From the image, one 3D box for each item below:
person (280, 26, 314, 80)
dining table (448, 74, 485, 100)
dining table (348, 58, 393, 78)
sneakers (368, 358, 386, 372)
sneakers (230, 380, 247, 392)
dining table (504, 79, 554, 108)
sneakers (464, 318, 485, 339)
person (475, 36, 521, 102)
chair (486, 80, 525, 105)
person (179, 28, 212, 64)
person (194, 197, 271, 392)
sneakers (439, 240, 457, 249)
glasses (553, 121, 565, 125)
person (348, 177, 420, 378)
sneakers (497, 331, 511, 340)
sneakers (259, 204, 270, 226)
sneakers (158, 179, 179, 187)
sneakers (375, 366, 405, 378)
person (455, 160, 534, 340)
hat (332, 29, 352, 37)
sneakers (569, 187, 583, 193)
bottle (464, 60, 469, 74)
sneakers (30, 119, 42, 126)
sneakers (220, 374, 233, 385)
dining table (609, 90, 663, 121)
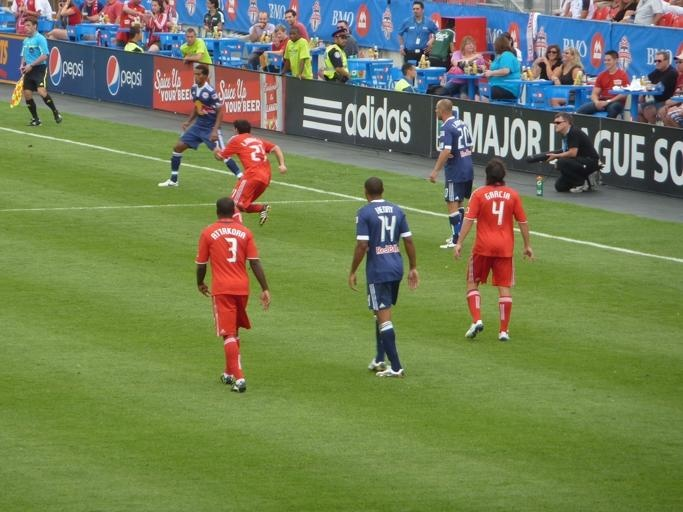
[{"bbox_3d":[-1.063,-5.257,38.593,0.732,1.304,2.072,2,11,-3],"label":"person"},{"bbox_3d":[3.100,-4.218,37.170,0.718,0.696,0.733,5,11,28],"label":"dining table"},{"bbox_3d":[0.797,-5.117,40.473,0.723,0.336,0.738,11,17,38],"label":"dining table"},{"bbox_3d":[0.540,1.634,22.305,0.282,0.134,0.116,6,8,41],"label":"sneakers"},{"bbox_3d":[-1.431,1.867,21.497,0.141,0.188,0.188,5,11,31],"label":"sneakers"},{"bbox_3d":[4.480,-3.895,35.721,0.838,0.787,0.831,-6,14,-23],"label":"dining table"},{"bbox_3d":[2.078,1.177,23.439,0.154,0.427,0.210,14,46,-25],"label":"sneakers"},{"bbox_3d":[3.847,-4.222,36.407,1.025,2.134,0.976,2,-2,32],"label":"person"},{"bbox_3d":[3.928,-3.979,36.161,0.636,0.408,0.644,1,10,8],"label":"chair"},{"bbox_3d":[-3.688,-5.447,38.961,0.747,0.882,1.423,2,11,-7],"label":"person"},{"bbox_3d":[-1.544,0.543,21.589,0.861,2.725,0.650,9,12,29],"label":"person"},{"bbox_3d":[1.986,-0.199,27.919,0.322,0.128,0.110,2,2,23],"label":"sneakers"},{"bbox_3d":[4.347,-2.684,30.095,0.196,0.132,0.152,12,14,37],"label":"glasses"},{"bbox_3d":[0.622,0.318,22.035,0.969,2.887,0.777,3,11,0],"label":"person"},{"bbox_3d":[2.538,1.255,23.474,0.133,0.126,0.291,-1,-2,2],"label":"sneakers"},{"bbox_3d":[-1.458,-0.793,29.017,0.222,0.451,0.162,17,42,-2],"label":"sneakers"},{"bbox_3d":[-3.638,-1.568,32.080,0.425,0.185,0.170,1,4,7],"label":"sneakers"},{"bbox_3d":[0.730,1.702,22.145,0.413,0.180,0.152,2,4,8],"label":"sneakers"},{"bbox_3d":[2.351,-0.103,23.437,1.078,2.787,0.853,4,11,5],"label":"person"},{"bbox_3d":[-0.013,-5.997,40.079,0.401,0.172,0.359,-1,4,1],"label":"hat"},{"bbox_3d":[5.035,-1.434,32.245,0.121,0.122,0.291,5,10,26],"label":"sneakers"},{"bbox_3d":[3.111,-4.652,36.870,0.146,0.259,0.361,3,11,2],"label":"bottle"},{"bbox_3d":[-7.695,-3.414,38.174,0.283,0.187,0.424,1,12,-12],"label":"sneakers"},{"bbox_3d":[-1.627,1.792,21.729,0.123,0.103,0.157,4,4,1],"label":"sneakers"},{"bbox_3d":[6.529,-3.404,33.528,0.756,0.833,0.774,1,5,13],"label":"dining table"}]
